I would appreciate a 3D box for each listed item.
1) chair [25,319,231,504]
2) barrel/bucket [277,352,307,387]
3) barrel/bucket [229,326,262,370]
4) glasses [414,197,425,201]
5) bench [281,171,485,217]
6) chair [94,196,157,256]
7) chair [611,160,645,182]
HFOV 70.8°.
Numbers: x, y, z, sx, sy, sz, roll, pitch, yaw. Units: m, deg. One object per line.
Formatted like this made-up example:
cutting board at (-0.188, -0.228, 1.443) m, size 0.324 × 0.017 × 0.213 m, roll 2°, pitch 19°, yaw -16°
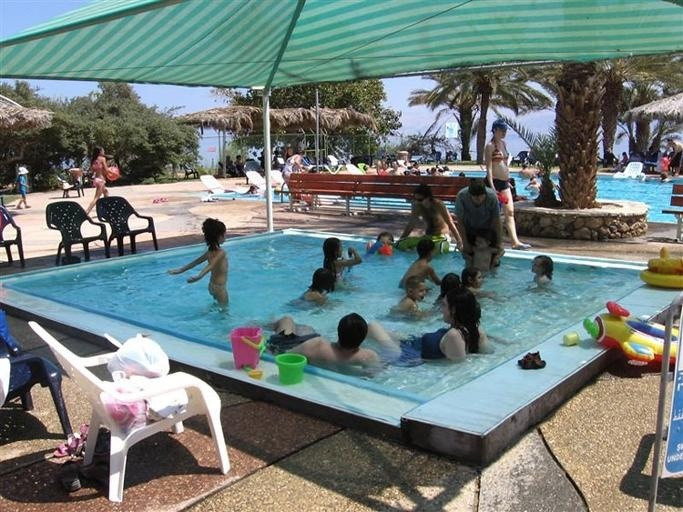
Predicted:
chair at (-1.421, 1.016, 3.240) m, size 1.006 × 0.895 × 0.800 m, roll 0°, pitch 5°, yaw -45°
barrel/bucket at (-0.396, 0.926, 4.040) m, size 0.236 × 0.167 × 0.240 m, roll 1°, pitch 15°, yaw 0°
barrel/bucket at (-0.811, 0.801, 4.270) m, size 0.349 × 0.382 × 0.334 m, roll 0°, pitch 5°, yaw 0°
glasses at (1.404, -1.013, 8.565) m, size 0.125 × 0.041 × 0.119 m, roll 3°, pitch 0°, yaw -34°
bench at (1.150, -1.780, 14.262) m, size 5.531 × 1.139 × 1.011 m, roll 1°, pitch 4°, yaw -12°
chair at (-4.228, -0.537, 9.481) m, size 0.791 × 1.182 × 0.918 m, roll -8°, pitch 0°, yaw 13°
chair at (15.854, -4.503, 26.160) m, size 1.205 × 0.639 × 1.814 m, roll 7°, pitch 22°, yaw 38°
